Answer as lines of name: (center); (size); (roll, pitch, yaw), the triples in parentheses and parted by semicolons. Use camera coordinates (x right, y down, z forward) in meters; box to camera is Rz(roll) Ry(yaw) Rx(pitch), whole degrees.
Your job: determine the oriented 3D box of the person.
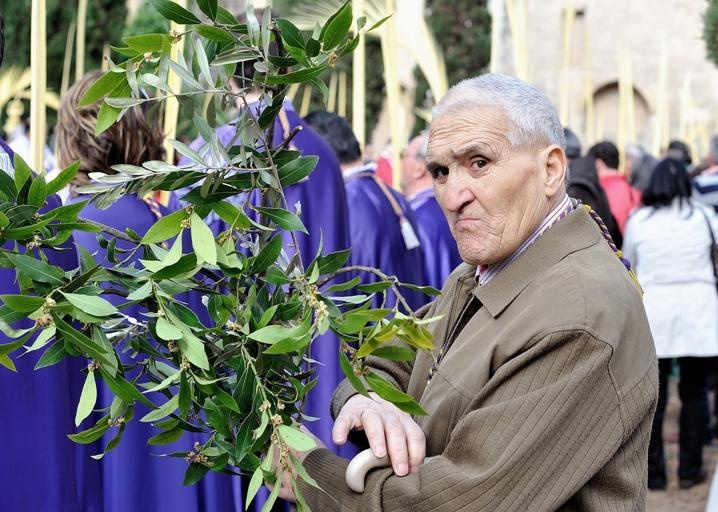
person: (0.051, 0.204, 4.718); (2.033, 1.422, 0.541); (0, 2, -16)
